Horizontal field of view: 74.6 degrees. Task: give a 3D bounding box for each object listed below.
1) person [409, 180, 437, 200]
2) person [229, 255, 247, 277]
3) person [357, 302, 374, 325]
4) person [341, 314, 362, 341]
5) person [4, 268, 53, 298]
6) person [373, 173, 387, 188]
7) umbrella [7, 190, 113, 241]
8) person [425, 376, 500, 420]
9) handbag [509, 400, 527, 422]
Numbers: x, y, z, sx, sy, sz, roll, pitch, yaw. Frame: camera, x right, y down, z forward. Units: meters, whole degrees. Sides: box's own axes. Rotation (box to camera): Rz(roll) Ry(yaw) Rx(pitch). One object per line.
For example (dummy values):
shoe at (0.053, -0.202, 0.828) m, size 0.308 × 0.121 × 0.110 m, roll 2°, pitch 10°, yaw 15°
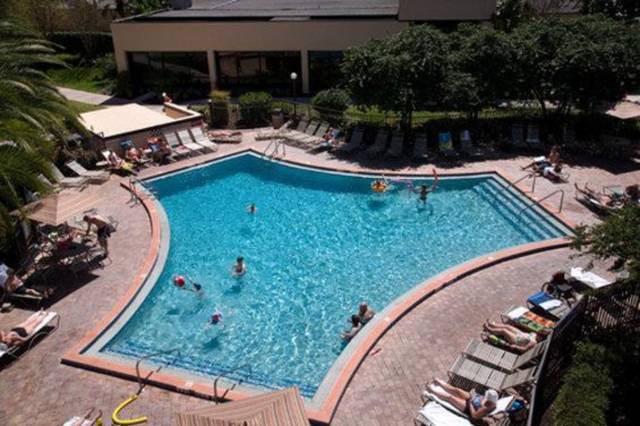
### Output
person at (5.564, -1.374, 22.650) m, size 1.293 × 0.953 × 1.547 m, roll 4°, pitch 28°, yaw 11°
person at (-3.514, 2.189, 17.809) m, size 0.626 × 0.895 × 0.466 m, roll -1°, pitch 29°, yaw 1°
person at (1.655, 3.567, 15.008) m, size 0.507 × 0.759 × 0.523 m, roll 6°, pitch 30°, yaw 14°
person at (1.141, 4.161, 15.134) m, size 0.512 × 0.872 × 0.682 m, roll 32°, pitch 41°, yaw 33°
person at (-11.141, 2.823, 16.092) m, size 1.556 × 0.689 × 1.073 m, roll 9°, pitch 17°, yaw -10°
person at (3.368, -1.790, 22.978) m, size 0.592 × 0.308 × 0.807 m, roll 0°, pitch 30°, yaw 29°
umbrella at (-10.689, -0.370, 17.189) m, size 2.202 × 0.738 × 2.137 m, roll 10°, pitch 30°, yaw 21°
person at (4.180, 5.339, 12.264) m, size 1.814 × 1.047 × 0.664 m, roll 15°, pitch 33°, yaw 28°
handbag at (5.706, 5.727, 12.109) m, size 0.451 × 0.597 × 0.578 m, roll 8°, pitch 59°, yaw 35°
